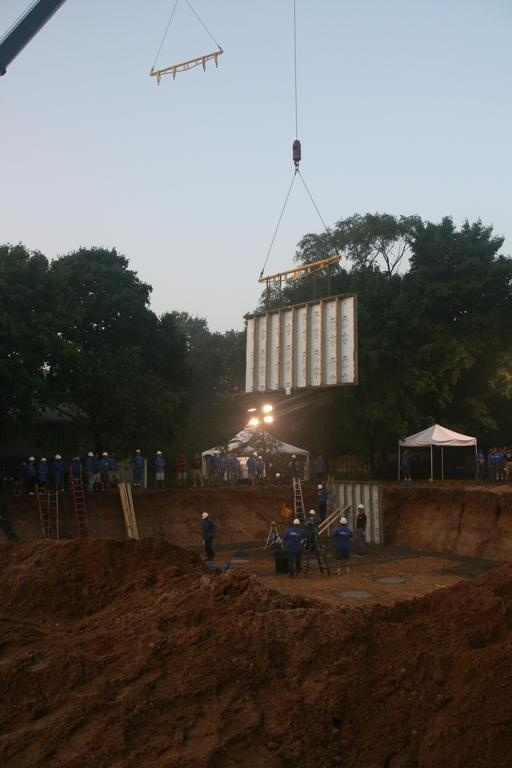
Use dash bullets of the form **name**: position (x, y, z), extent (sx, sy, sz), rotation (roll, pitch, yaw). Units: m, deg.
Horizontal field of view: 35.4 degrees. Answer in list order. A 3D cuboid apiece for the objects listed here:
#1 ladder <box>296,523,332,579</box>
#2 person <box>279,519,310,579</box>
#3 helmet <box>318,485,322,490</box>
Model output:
- **ladder**: position (1.530, 4.479, 21.688), extent (1.065, 1.475, 1.122), rotation (-1, -8, -3)
- **person**: position (0.994, 4.179, 20.774), extent (0.473, 1.450, 0.455), rotation (2, 9, 3)
- **helmet**: position (2.446, 3.977, 31.054), extent (0.171, 0.209, 0.256), rotation (-1, -11, 6)
